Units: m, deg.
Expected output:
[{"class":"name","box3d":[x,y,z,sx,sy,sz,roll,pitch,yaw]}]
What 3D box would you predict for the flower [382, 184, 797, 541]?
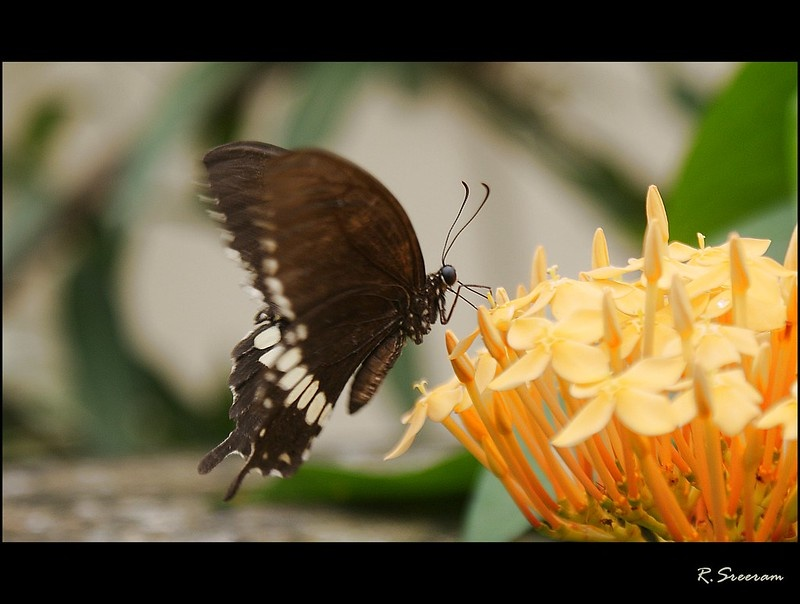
[{"class":"flower","box3d":[0.313,0.089,1.486,0.663,0.349,0.544,-3,1,-5]}]
